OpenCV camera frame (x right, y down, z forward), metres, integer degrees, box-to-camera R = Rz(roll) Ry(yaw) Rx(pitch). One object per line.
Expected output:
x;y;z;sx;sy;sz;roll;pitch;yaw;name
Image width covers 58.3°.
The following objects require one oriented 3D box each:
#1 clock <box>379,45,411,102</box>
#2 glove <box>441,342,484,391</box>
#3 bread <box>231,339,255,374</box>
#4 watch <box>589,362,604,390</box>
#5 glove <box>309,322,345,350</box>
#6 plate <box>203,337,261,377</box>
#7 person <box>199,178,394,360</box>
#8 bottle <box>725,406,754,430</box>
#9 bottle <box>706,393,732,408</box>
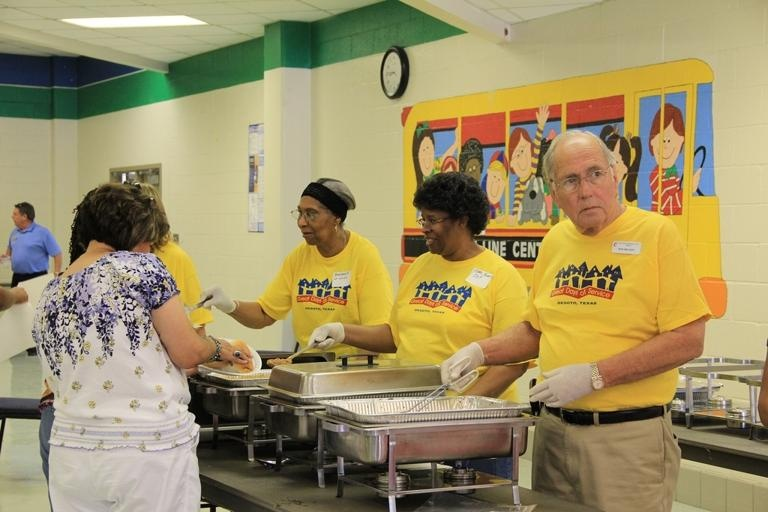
0.093;-1.856;7.045;0.088;0.535;0.436;-1;1;-35;clock
0.342;0.467;2.917;0.207;0.150;0.078;-40;-15;-9;glove
-0.664;0.469;3.241;0.099;0.132;0.042;12;-38;-42;bread
0.820;0.465;2.683;0.063;0.083;0.090;-13;2;0;watch
-0.286;0.401;3.491;0.173;0.117;0.073;-19;-21;-8;glove
-0.662;0.497;3.258;0.201;0.059;0.210;6;10;6;plate
-0.450;0.124;4.472;1.084;1.444;1.114;5;-8;-38;person
2.017;0.921;3.911;0.119;0.071;0.110;-1;-5;0;bottle
2.020;0.868;4.177;0.101;0.053;0.093;0;-4;0;bottle
